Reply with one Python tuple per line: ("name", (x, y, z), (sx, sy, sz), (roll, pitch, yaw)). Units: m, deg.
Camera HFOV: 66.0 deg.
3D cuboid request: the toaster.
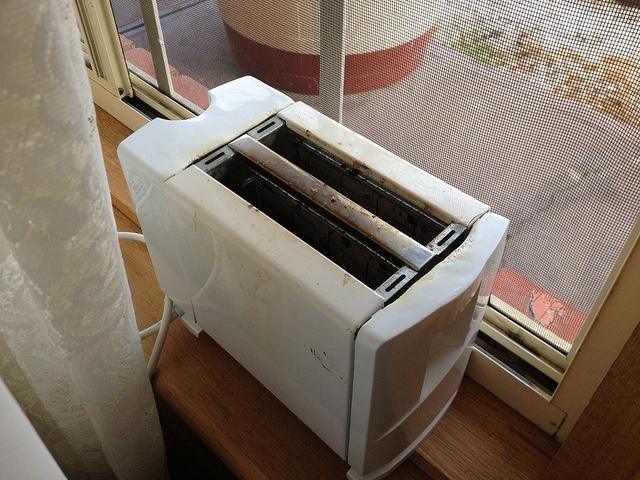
("toaster", (0.002, -0.048, 0.938), (0.706, 0.532, 0.411), (39, 63, 23))
